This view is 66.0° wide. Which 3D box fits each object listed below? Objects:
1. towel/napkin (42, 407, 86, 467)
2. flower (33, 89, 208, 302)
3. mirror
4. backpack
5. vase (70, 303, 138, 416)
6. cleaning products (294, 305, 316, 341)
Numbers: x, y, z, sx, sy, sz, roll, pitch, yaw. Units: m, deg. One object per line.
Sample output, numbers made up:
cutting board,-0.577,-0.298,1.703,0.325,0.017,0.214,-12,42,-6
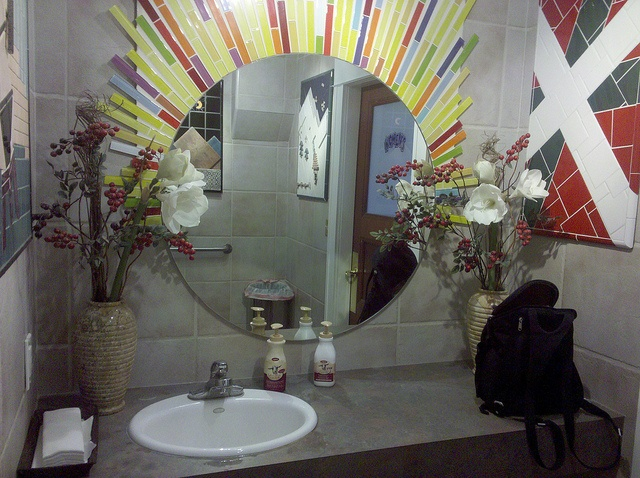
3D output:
towel/napkin,-0.705,0.535,1.355,0.091,0.039,0.137,1,20,-21
flower,-0.688,-0.117,1.761,0.604,0.893,0.586,1,1,-36
mirror,-0.117,-0.182,1.798,0.962,1.244,0.081,-1,7,-18
backpack,0.689,0.410,1.804,0.405,0.638,0.568,-2,9,-16
vase,-0.674,0.381,1.552,0.174,0.366,0.089,0,2,-30
cleaning products,-0.056,0.354,1.876,0.072,0.183,0.075,3,0,-15
